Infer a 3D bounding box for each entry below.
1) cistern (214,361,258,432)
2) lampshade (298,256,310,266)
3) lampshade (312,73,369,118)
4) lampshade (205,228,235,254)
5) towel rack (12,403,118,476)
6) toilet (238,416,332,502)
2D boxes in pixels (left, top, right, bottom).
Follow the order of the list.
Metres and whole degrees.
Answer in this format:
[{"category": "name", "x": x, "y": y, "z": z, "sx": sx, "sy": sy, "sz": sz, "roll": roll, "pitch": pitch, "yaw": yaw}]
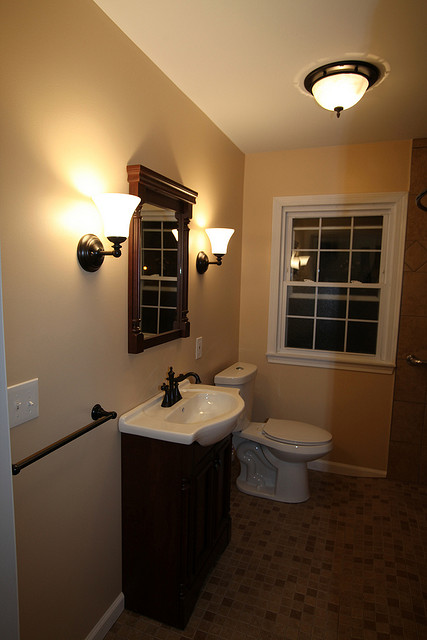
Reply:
[{"category": "cistern", "x": 0.153, "y": 0.471, "z": 3.030, "sx": 0.218, "sy": 0.432, "sz": 0.249, "roll": 5, "pitch": 8, "yaw": 13}, {"category": "lampshade", "x": 0.671, "y": -0.428, "z": 3.384, "sx": 0.059, "sy": 0.068, "sz": 0.061, "roll": 2, "pitch": -4, "yaw": -5}, {"category": "lampshade", "x": 0.562, "y": -0.928, "z": 2.041, "sx": 0.200, "sy": 0.157, "sz": 0.193, "roll": 4, "pitch": -10, "yaw": -40}, {"category": "lampshade", "x": 0.034, "y": -0.449, "z": 2.625, "sx": 0.131, "sy": 0.117, "sz": 0.132, "roll": 5, "pitch": 10, "yaw": 21}, {"category": "towel rack", "x": -0.453, "y": 0.358, "z": 1.446, "sx": 0.084, "sy": 0.051, "sz": 0.588, "roll": 2, "pitch": 6, "yaw": 16}, {"category": "toilet", "x": 0.429, "y": 0.889, "z": 2.979, "sx": 0.578, "sy": 0.472, "sz": 0.395, "roll": 8, "pitch": 13, "yaw": 27}]
